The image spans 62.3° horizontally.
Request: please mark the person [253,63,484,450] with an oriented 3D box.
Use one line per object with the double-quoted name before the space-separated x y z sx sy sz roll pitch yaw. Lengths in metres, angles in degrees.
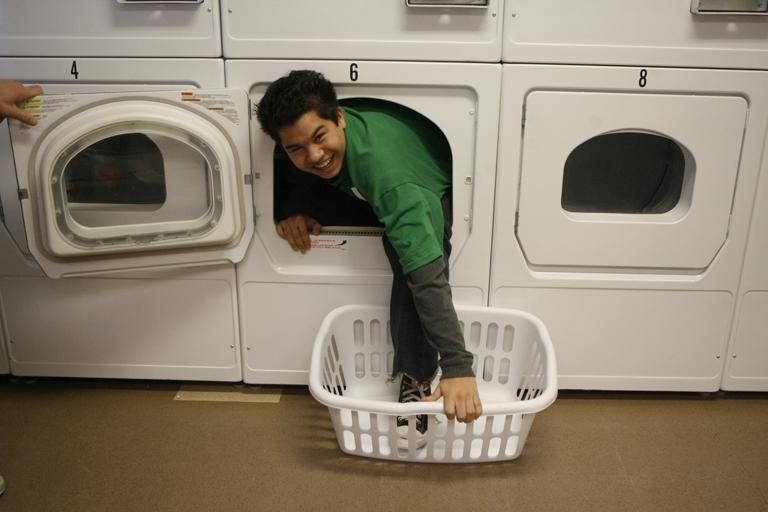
"person" -0.039 -0.016 2.675 1.057 1.460 0.728 6 19 18
